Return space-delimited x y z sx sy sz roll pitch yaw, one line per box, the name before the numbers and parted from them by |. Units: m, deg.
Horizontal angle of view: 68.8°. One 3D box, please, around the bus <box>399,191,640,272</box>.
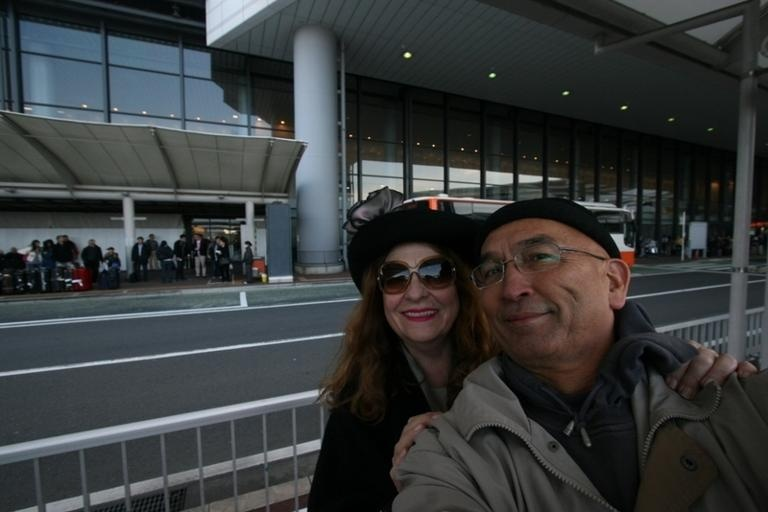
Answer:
bus | 6.739 -2.005 26.538 15.007 4.381 4.185 -2 5 -12
